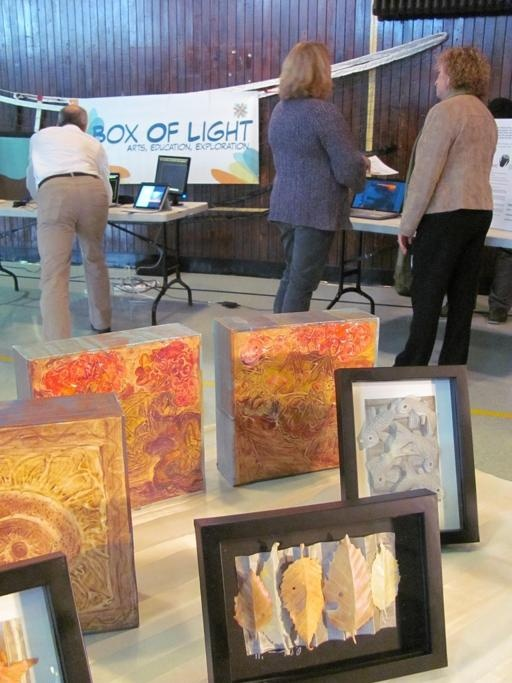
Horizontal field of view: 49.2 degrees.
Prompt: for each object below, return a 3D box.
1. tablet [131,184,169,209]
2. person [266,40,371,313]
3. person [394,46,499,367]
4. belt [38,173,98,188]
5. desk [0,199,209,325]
[{"bbox_3d":[-0.817,-1.130,4.331,0.271,0.228,0.255,-4,12,19],"label":"tablet"},{"bbox_3d":[0.268,-0.781,2.741,0.561,1.274,0.310,-6,12,14],"label":"person"},{"bbox_3d":[0.849,-0.563,2.604,0.502,1.489,0.402,-18,14,-36],"label":"person"},{"bbox_3d":[-1.124,-0.985,3.351,0.338,0.050,0.093,-11,12,-16],"label":"belt"},{"bbox_3d":[-1.176,-0.659,4.709,1.326,0.626,0.667,13,29,26],"label":"desk"}]
